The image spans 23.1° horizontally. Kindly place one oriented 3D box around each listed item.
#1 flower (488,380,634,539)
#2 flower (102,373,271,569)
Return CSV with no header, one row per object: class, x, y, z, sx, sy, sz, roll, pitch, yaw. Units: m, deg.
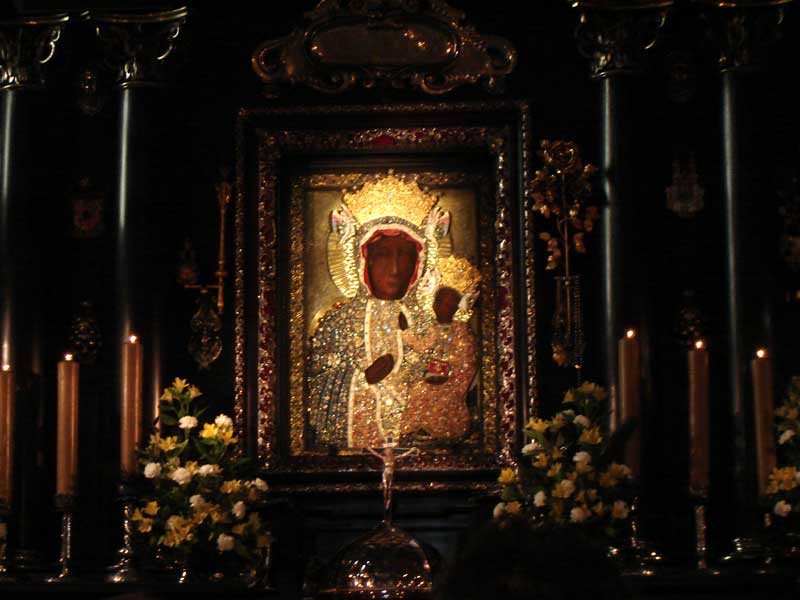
flower,0.874,0.784,9.891,0.822,0.884,0.619,-7,-18,29
flower,-1.026,0.864,10.045,0.748,1.032,0.500,4,-16,-7
